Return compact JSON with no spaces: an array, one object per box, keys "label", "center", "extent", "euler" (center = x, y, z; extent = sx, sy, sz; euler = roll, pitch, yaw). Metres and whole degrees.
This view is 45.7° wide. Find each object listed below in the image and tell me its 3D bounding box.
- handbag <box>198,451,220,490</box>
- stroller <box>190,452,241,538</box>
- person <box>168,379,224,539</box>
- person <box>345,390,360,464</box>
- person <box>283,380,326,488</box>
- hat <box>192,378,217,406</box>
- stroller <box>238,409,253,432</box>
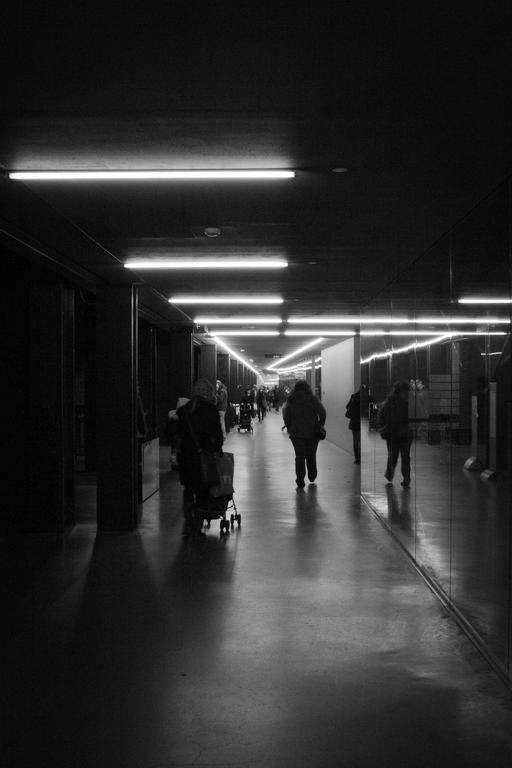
[{"label":"handbag","center":[-0.590,1.053,7.607],"extent":[0.291,0.545,0.105],"euler":[2,-3,-33]},{"label":"stroller","center":[-0.479,1.428,8.073],"extent":[0.498,1.456,0.885],"euler":[1,3,3]},{"label":"person","center":[-0.768,0.919,7.831],"extent":[0.669,1.952,0.673],"euler":[0,-2,-5]},{"label":"person","center":[2.515,1.139,15.431],"extent":[0.284,1.827,2.562],"euler":[0,-2,11]},{"label":"person","center":[0.994,0.983,12.332],"extent":[0.797,2.102,0.977],"euler":[0,-2,5]},{"label":"hat","center":[-0.669,0.076,8.055],"extent":[0.236,0.429,0.448],"euler":[1,-18,10]},{"label":"stroller","center":[-0.480,1.766,28.478],"extent":[0.598,1.655,0.870],"euler":[0,9,-3]}]
